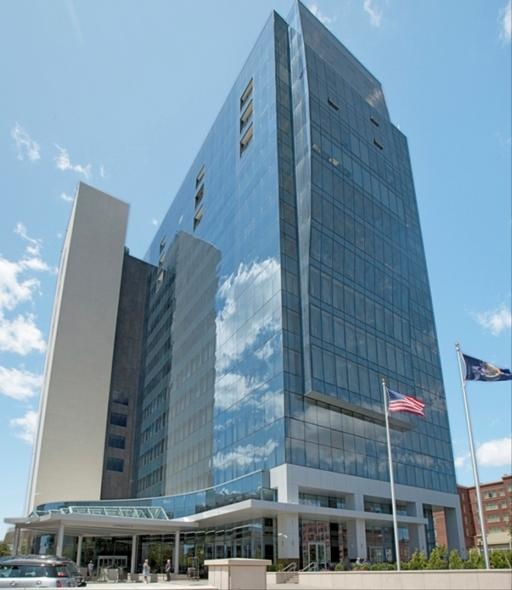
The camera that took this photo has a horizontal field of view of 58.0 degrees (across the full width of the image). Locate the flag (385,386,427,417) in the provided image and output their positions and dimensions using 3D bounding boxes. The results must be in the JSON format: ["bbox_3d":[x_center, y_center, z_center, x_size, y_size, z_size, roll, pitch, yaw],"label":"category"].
[{"bbox_3d":[8.667,6.342,27.273,1.813,1.815,2.292,-9,-30,13],"label":"flag"}]
